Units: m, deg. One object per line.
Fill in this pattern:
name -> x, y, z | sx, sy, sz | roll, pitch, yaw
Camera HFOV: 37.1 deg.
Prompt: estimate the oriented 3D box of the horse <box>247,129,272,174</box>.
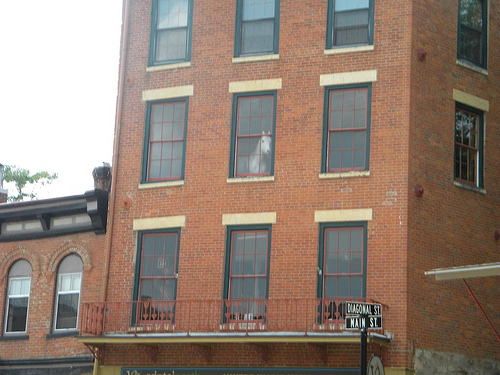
horse -> 0.249, -1.093, 23.764 | 0.535, 1.258, 1.849 | 2, 1, -16
